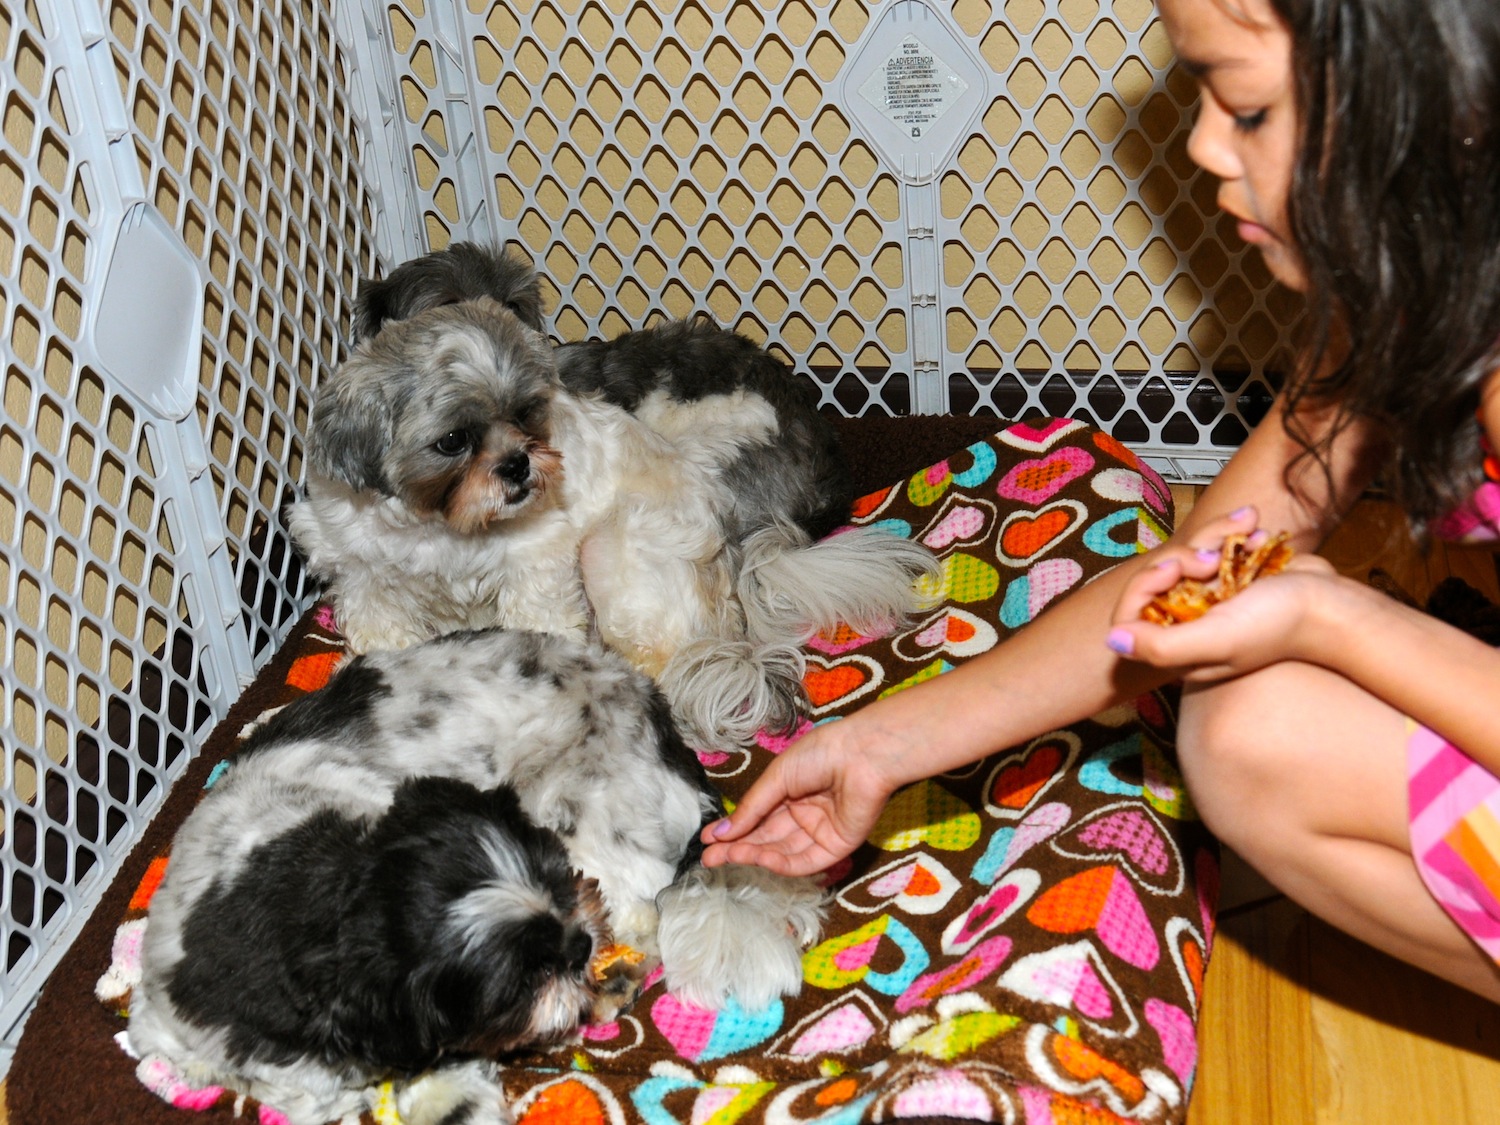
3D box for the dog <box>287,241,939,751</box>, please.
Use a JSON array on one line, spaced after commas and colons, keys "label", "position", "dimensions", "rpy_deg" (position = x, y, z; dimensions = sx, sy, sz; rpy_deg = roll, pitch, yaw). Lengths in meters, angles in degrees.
[{"label": "dog", "position": [-0.290, -0.024, 3.065], "dimensions": [1.157, 0.659, 1.070], "rpy_deg": [-6, 59, -6]}]
